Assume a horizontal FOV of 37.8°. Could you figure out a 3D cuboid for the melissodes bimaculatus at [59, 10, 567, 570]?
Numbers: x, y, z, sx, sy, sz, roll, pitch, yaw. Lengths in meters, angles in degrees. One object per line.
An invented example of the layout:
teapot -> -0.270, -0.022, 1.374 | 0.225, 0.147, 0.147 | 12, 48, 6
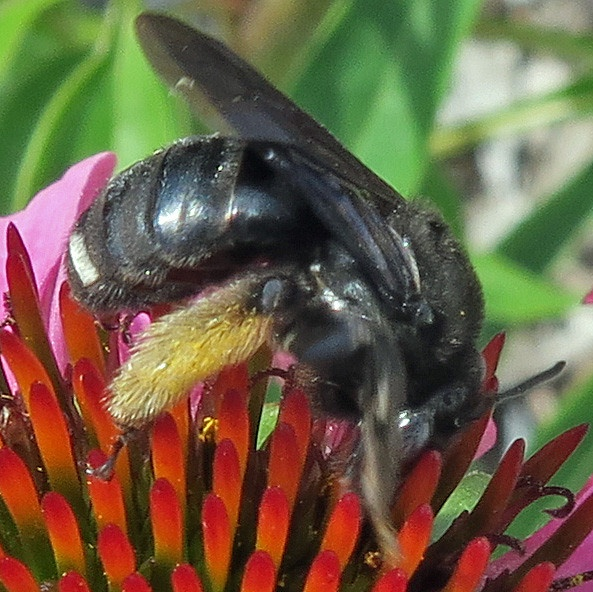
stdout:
melissodes bimaculatus -> -0.004, -0.012, 0.617 | 0.391, 0.164, 0.277 | 39, -3, 6
